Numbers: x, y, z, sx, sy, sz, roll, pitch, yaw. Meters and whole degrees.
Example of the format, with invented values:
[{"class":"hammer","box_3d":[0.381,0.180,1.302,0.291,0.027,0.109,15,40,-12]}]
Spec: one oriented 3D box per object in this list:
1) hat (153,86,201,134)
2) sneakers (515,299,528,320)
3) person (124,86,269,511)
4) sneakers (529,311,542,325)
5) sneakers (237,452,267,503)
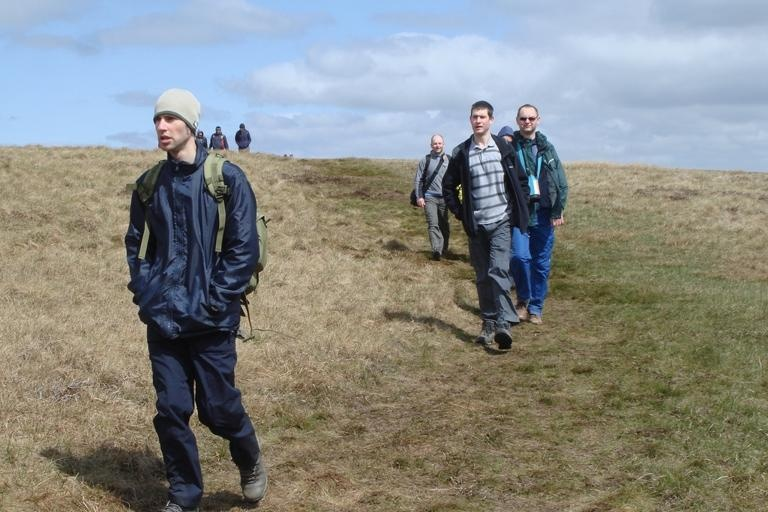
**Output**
[{"class":"hat","box_3d":[-2.088,-1.434,7.571,0.391,0.416,0.188,1,11,2]},{"class":"sneakers","box_3d":[2.175,0.879,12.054,0.156,0.192,0.428,-1,8,2]},{"class":"person","box_3d":[-1.907,0.505,7.599,1.314,4.219,0.887,-1,11,-4]},{"class":"sneakers","box_3d":[2.372,0.980,12.010,0.157,0.123,0.291,2,-6,12]},{"class":"sneakers","box_3d":[-1.403,2.262,7.994,0.200,0.599,0.241,-13,-14,27]}]
